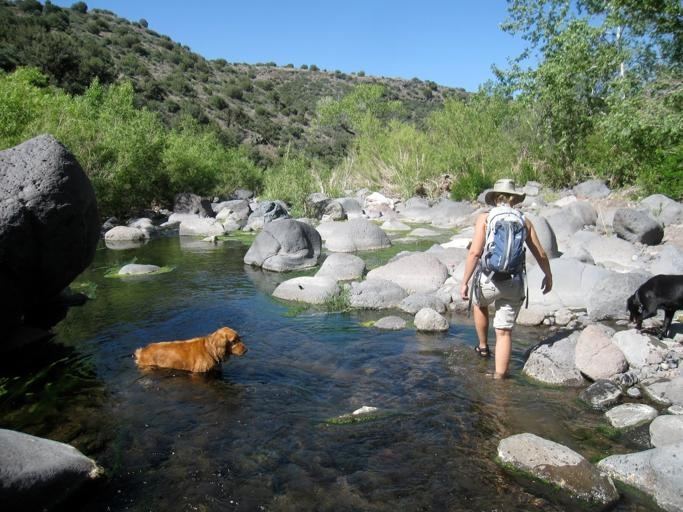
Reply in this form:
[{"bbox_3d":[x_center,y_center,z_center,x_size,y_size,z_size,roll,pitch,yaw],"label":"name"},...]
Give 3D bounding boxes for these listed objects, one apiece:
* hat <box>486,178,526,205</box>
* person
[{"bbox_3d":[2.400,-1.031,7.388,0.440,0.208,0.541,0,-19,17],"label":"hat"},{"bbox_3d":[2.360,0.325,7.234,1.107,2.897,0.855,4,8,22],"label":"person"}]
